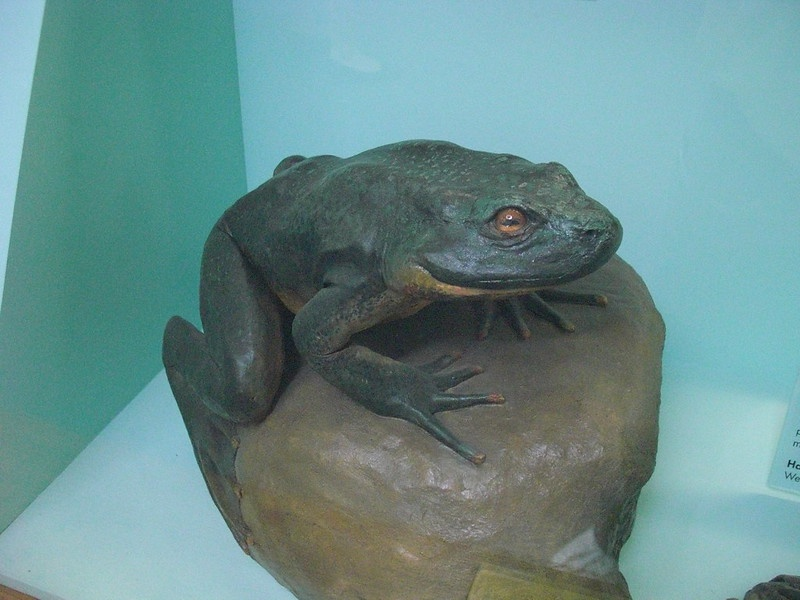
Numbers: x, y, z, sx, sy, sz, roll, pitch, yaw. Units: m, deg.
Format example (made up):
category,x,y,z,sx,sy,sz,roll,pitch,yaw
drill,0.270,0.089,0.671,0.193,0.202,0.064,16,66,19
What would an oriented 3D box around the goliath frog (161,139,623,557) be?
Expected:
category,x,y,z,sx,sy,sz,roll,pitch,yaw
goliath frog,-0.088,-0.180,2.890,1.599,0.752,1.741,-14,39,-18
